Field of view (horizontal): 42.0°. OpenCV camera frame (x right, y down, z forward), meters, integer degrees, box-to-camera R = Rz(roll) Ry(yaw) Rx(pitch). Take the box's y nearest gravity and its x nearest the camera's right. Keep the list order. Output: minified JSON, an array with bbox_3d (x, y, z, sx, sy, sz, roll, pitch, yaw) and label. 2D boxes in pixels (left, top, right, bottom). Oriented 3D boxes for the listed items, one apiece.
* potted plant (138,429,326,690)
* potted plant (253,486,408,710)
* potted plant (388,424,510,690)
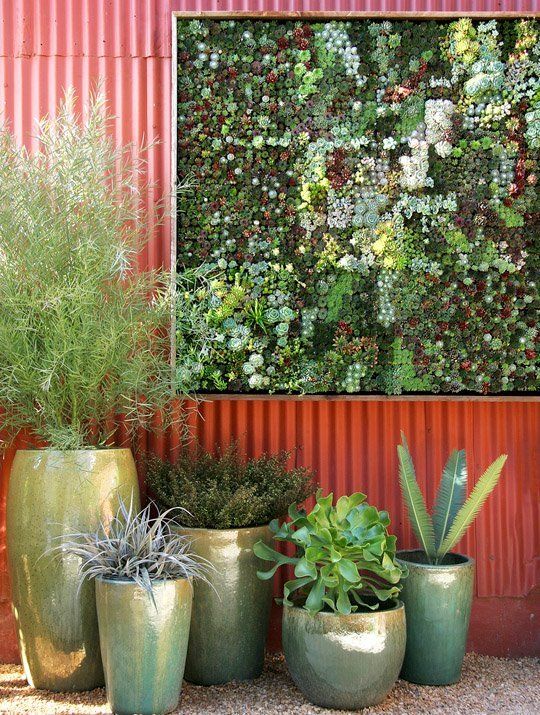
[{"bbox_3d":[-0.259,0.610,2.519,0.766,0.867,0.635,-2,-3,34],"label":"potted plant"},{"bbox_3d":[0.210,0.680,2.169,0.613,0.717,0.545,0,-7,-4],"label":"potted plant"},{"bbox_3d":[0.544,0.629,2.224,0.345,0.736,0.311,2,-6,-7],"label":"potted plant"}]
